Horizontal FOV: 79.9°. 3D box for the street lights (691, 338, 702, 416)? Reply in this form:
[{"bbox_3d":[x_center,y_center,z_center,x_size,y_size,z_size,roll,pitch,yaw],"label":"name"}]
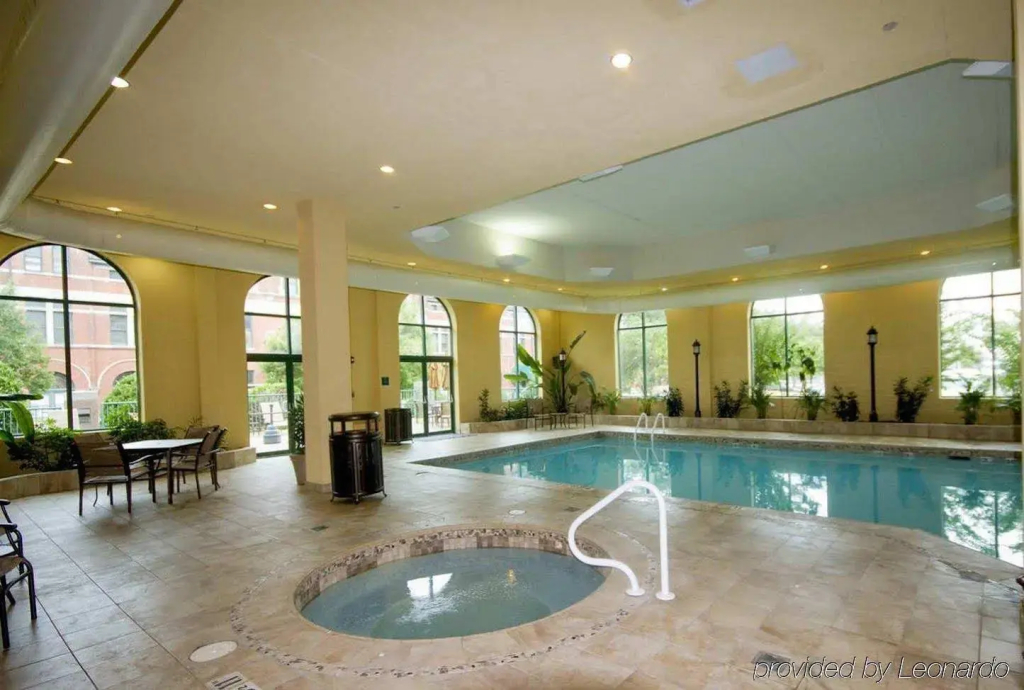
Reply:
[{"bbox_3d":[4.993,0.854,16.577,0.280,2.053,0.509,1,11,17],"label":"street lights"}]

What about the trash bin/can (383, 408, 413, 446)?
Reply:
[{"bbox_3d":[-2.660,1.856,14.067,0.762,0.827,0.757,-2,-3,31],"label":"trash bin/can"}]

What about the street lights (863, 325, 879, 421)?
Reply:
[{"bbox_3d":[8.214,0.602,13.933,0.315,2.094,0.690,3,11,24],"label":"street lights"}]
